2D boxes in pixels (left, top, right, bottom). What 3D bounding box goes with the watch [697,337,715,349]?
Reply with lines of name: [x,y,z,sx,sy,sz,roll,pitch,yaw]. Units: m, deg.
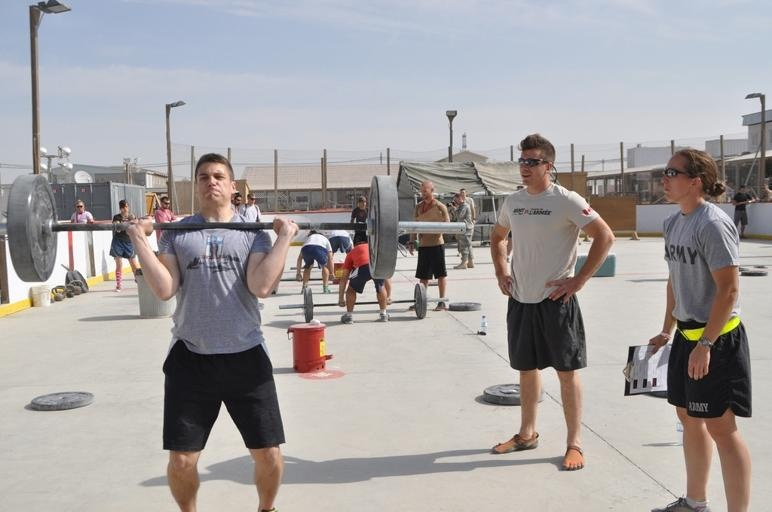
watch: [2.155,0.581,5.277,0.086,0.064,0.083,17,3,34]

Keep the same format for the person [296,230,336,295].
person: [-1.201,0.049,13.434,0.609,1.187,0.697,9,-23,-21]

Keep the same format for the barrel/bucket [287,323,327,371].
barrel/bucket: [-0.861,0.970,8.650,0.515,0.544,0.405,-5,10,-36]

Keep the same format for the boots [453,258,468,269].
boots: [1.694,0.166,18.295,0.368,0.261,0.177,5,7,20]

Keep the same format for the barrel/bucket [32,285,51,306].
barrel/bucket: [-5.783,0.650,13.056,0.329,0.341,0.318,-1,-2,0]

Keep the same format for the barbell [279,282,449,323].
barbell: [-0.315,0.654,11.189,2.417,0.528,0.637,-2,-16,-5]
